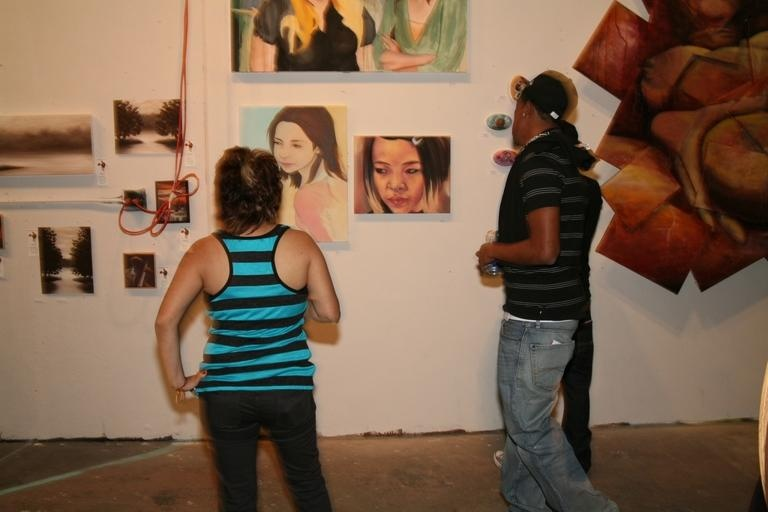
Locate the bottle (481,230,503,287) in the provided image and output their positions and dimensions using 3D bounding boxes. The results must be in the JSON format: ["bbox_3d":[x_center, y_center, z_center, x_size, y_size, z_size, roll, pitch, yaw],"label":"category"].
[{"bbox_3d":[0.751,0.043,4.499,0.116,0.392,0.279,-5,10,2],"label":"bottle"}]

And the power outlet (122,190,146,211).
[{"bbox_3d":[-1.978,-0.450,5.214,0.182,0.185,0.146,0,0,-3],"label":"power outlet"}]

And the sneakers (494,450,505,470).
[{"bbox_3d":[0.876,1.545,4.979,0.080,0.090,0.227,1,21,5],"label":"sneakers"}]
